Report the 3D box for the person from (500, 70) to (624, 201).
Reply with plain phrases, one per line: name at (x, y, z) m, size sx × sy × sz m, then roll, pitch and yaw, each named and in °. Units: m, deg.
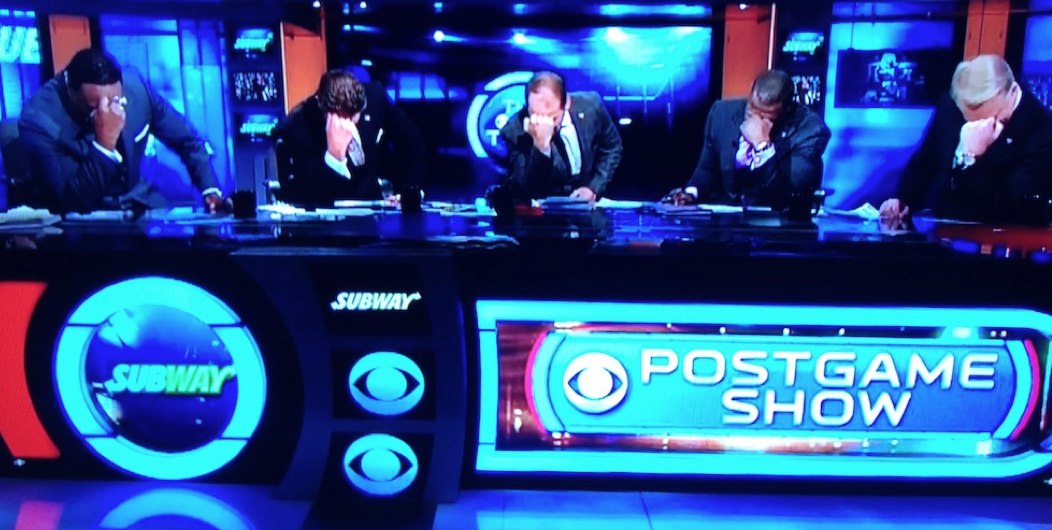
person at (0.263, -1.105, 8.942) m, size 0.760 × 1.031 × 0.986 m, roll 10°, pitch 18°, yaw 37°
